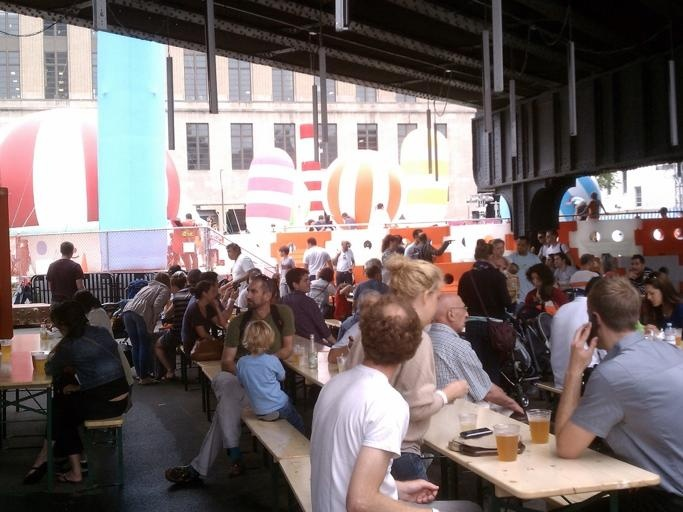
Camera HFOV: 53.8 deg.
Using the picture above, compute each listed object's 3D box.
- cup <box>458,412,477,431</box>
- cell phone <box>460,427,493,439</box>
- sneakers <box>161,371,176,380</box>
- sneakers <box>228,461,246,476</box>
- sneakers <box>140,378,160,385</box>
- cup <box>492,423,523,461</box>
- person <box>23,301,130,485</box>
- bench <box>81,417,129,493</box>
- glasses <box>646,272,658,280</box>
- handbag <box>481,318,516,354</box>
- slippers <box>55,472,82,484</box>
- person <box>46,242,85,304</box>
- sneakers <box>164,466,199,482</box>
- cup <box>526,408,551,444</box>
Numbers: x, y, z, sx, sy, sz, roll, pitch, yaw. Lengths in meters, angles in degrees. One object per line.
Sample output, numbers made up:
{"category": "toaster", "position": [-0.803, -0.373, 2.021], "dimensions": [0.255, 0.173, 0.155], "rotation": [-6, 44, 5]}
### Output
{"category": "cup", "position": [0.941, 1.226, 5.029], "dimensions": [0.117, 0.109, 0.137], "rotation": [0, -7, 1]}
{"category": "cell phone", "position": [0.992, 1.290, 4.949], "dimensions": [0.168, 0.046, 0.094], "rotation": [-4, 7, -18]}
{"category": "sneakers", "position": [-3.011, 2.057, 11.657], "dimensions": [0.233, 0.102, 0.088], "rotation": [3, -4, 9]}
{"category": "sneakers", "position": [-1.122, 2.264, 7.219], "dimensions": [0.117, 0.157, 0.157], "rotation": [3, -4, -12]}
{"category": "sneakers", "position": [-3.252, 2.096, 11.415], "dimensions": [0.319, 0.138, 0.111], "rotation": [-2, 1, -18]}
{"category": "cup", "position": [1.147, 1.276, 4.650], "dimensions": [0.196, 0.238, 0.212], "rotation": [-2, -7, 0]}
{"category": "person", "position": [-2.822, 1.450, 7.122], "dimensions": [0.947, 1.985, 0.722], "rotation": [-1, 9, 13]}
{"category": "bench", "position": [-2.647, 2.227, 7.506], "dimensions": [0.297, 0.590, 0.674], "rotation": [1, -5, -17]}
{"category": "glasses", "position": [3.869, 0.243, 8.407], "dimensions": [0.117, 0.055, 0.168], "rotation": [-7, 0, -16]}
{"category": "handbag", "position": [1.756, 0.915, 7.605], "dimensions": [0.389, 0.421, 0.169], "rotation": [-1, -18, -31]}
{"category": "slippers", "position": [-2.932, 2.370, 7.207], "dimensions": [0.224, 0.060, 0.111], "rotation": [9, 7, 8]}
{"category": "person", "position": [-5.170, 0.318, 12.548], "dimensions": [0.633, 1.123, 1.195], "rotation": [-7, 10, -23]}
{"category": "sneakers", "position": [-1.679, 2.266, 7.073], "dimensions": [0.352, 0.171, 0.152], "rotation": [2, -26, -27]}
{"category": "cup", "position": [1.488, 1.249, 4.990], "dimensions": [0.203, 0.234, 0.210], "rotation": [-2, -7, 0]}
